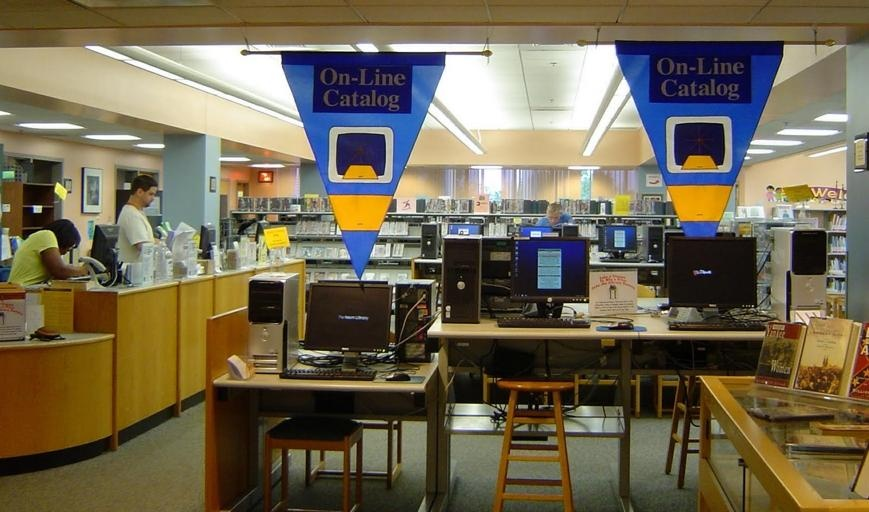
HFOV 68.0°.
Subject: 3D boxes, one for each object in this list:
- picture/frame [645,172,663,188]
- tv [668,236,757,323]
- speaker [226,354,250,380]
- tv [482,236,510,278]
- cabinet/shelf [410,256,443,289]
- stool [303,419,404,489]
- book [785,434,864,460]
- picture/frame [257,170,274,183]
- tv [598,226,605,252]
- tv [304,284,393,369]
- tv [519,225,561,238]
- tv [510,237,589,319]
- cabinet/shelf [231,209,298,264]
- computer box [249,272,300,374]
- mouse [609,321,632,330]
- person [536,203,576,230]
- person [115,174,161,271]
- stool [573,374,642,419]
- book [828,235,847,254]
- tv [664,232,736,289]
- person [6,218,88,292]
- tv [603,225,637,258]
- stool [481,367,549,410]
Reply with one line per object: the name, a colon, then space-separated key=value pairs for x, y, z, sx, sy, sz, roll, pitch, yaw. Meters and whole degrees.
picture/frame: x=5.304 y=-1.806 z=15.473 sx=0.406 sy=0.331 sz=0.292 roll=2 pitch=1 yaw=34
tv: x=2.621 y=0.203 z=6.090 sx=0.907 sy=0.782 sz=0.271 roll=1 pitch=-7 yaw=4
speaker: x=-1.739 y=0.992 z=5.695 sx=0.127 sy=0.216 sz=0.158 roll=-20 pitch=1 yaw=38
tv: x=0.617 y=0.012 z=6.502 sx=0.517 sy=0.431 sz=0.350 roll=0 pitch=0 yaw=2
cabinet/shelf: x=-0.097 y=0.295 z=10.627 sx=0.655 sy=0.557 sz=0.455 roll=1 pitch=0 yaw=4
stool: x=-0.784 y=2.044 z=6.553 sx=1.126 sy=0.794 sz=0.757 roll=-2 pitch=-6 yaw=8
book: x=2.634 y=1.300 z=4.343 sx=0.401 sy=0.074 sz=0.207 roll=-1 pitch=-2 yaw=0
picture/frame: x=-5.119 y=-2.405 z=19.560 sx=0.464 sy=0.344 sz=0.055 roll=1 pitch=0 yaw=-3
tv: x=2.959 y=-0.297 z=11.413 sx=0.185 sy=0.453 sz=0.473 roll=0 pitch=-2 yaw=9
tv: x=-0.786 y=0.643 z=5.937 sx=0.852 sy=0.710 sz=0.262 roll=1 pitch=-5 yaw=6
tv: x=1.709 y=-0.391 z=10.498 sx=0.530 sy=0.106 sz=0.454 roll=0 pitch=-1 yaw=4
tv: x=1.094 y=0.181 z=6.170 sx=0.892 sy=0.776 sz=0.324 roll=1 pitch=-4 yaw=1
cabinet/shelf: x=-2.684 y=-0.293 z=10.270 sx=1.078 sy=0.893 sz=0.533 roll=-1 pitch=-4 yaw=-8
computer box: x=-1.433 y=0.610 z=5.829 sx=0.473 sy=0.634 sz=0.351 roll=1 pitch=1 yaw=-22
mouse: x=1.733 y=0.649 z=5.963 sx=0.220 sy=0.068 sz=0.196 roll=2 pitch=1 yaw=13
person: x=2.166 y=-0.703 z=11.685 sx=0.486 sy=0.803 sz=0.315 roll=-8 pitch=39 yaw=17
person: x=-3.553 y=-0.457 z=7.702 sx=0.426 sy=1.061 sz=0.549 roll=1 pitch=1 yaw=-25
stool: x=1.800 y=1.475 z=6.742 sx=0.848 sy=0.494 sz=0.429 roll=0 pitch=-4 yaw=3
book: x=6.955 y=-0.193 z=11.118 sx=0.367 sy=0.308 sz=0.191 roll=1 pitch=-6 yaw=2
tv: x=2.525 y=0.060 z=6.102 sx=0.618 sy=0.364 sz=0.301 roll=0 pitch=-3 yaw=4
person: x=-4.250 y=-0.035 z=7.121 sx=0.732 sy=0.735 sz=0.526 roll=1 pitch=1 yaw=-31
tv: x=3.248 y=-0.252 z=11.304 sx=0.632 sy=0.551 sz=0.245 roll=1 pitch=-5 yaw=4
stool: x=0.741 y=1.320 z=6.434 sx=0.668 sy=0.351 sz=0.624 roll=1 pitch=0 yaw=5
